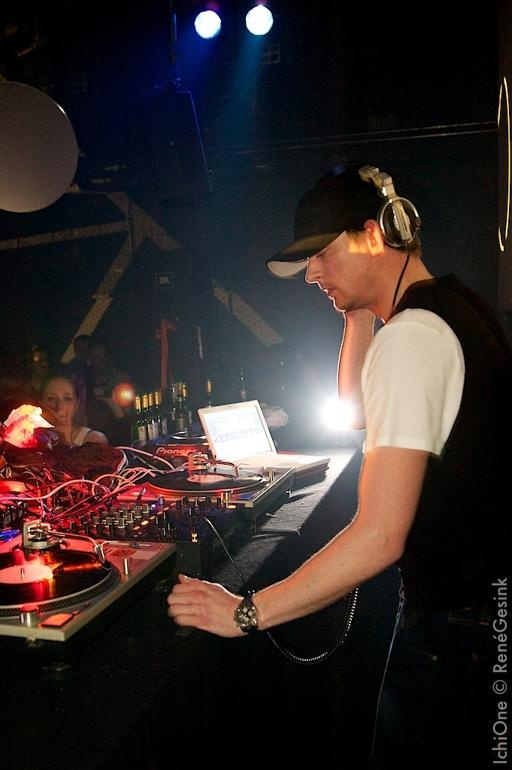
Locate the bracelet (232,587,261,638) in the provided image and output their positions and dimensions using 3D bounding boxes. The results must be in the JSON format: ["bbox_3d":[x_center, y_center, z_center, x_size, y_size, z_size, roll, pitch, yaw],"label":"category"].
[{"bbox_3d":[-0.021,0.401,1.138,0.027,0.045,0.059,-8,39,-3],"label":"bracelet"}]

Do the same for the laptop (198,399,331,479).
[{"bbox_3d":[0.018,0.232,2.830,0.361,0.236,0.410,3,4,25],"label":"laptop"}]

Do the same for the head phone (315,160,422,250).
[{"bbox_3d":[0.254,-0.352,1.339,0.075,0.168,0.176,-18,4,-7],"label":"head phone"}]

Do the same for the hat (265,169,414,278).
[{"bbox_3d":[0.158,-0.312,1.317,0.260,0.146,0.178,-22,10,4],"label":"hat"}]
